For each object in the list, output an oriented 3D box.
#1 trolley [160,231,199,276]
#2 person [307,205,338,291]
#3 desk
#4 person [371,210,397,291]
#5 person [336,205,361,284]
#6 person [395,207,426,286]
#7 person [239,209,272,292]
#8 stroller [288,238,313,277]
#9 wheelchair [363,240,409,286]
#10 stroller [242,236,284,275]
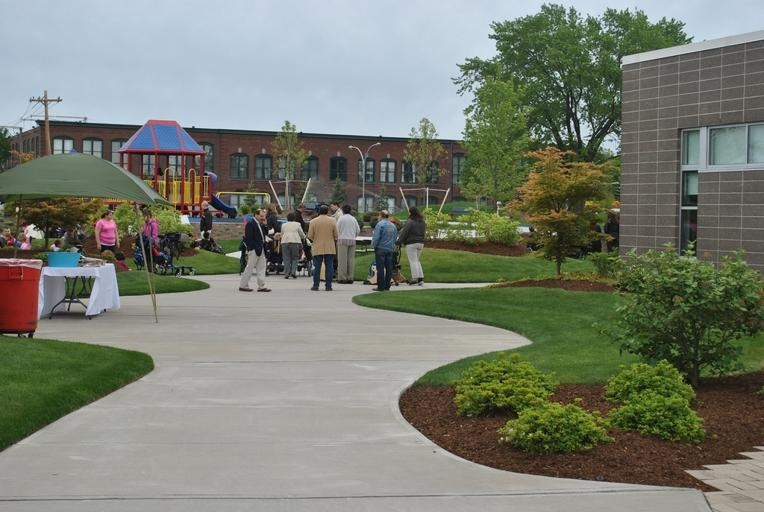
[{"bbox_3d":[-7.000,-0.139,30.930,1.337,1.546,1.162,1,3,-20],"label":"trolley"},{"bbox_3d":[-1.567,-0.231,24.083,0.809,2.224,0.898,0,0,-7],"label":"person"},{"bbox_3d":[-6.062,0.575,18.117,1.020,1.203,1.108,1,1,-2],"label":"desk"},{"bbox_3d":[0.028,-0.164,23.797,0.694,2.089,0.599,1,-1,-35],"label":"person"},{"bbox_3d":[-1.020,-0.315,26.059,0.681,2.140,0.650,1,0,-30],"label":"person"},{"bbox_3d":[0.759,-0.309,24.980,0.834,2.189,0.753,3,-6,-34],"label":"person"},{"bbox_3d":[-3.291,-0.172,23.166,0.831,2.202,0.942,0,-1,-24],"label":"person"},{"bbox_3d":[-2.436,-0.043,28.481,0.808,1.094,0.986,0,-5,2],"label":"stroller"},{"bbox_3d":[0.138,0.250,26.261,0.991,1.610,1.251,1,5,-15],"label":"wheelchair"},{"bbox_3d":[-3.765,-0.083,28.387,1.208,1.234,0.951,-3,1,9],"label":"stroller"}]
